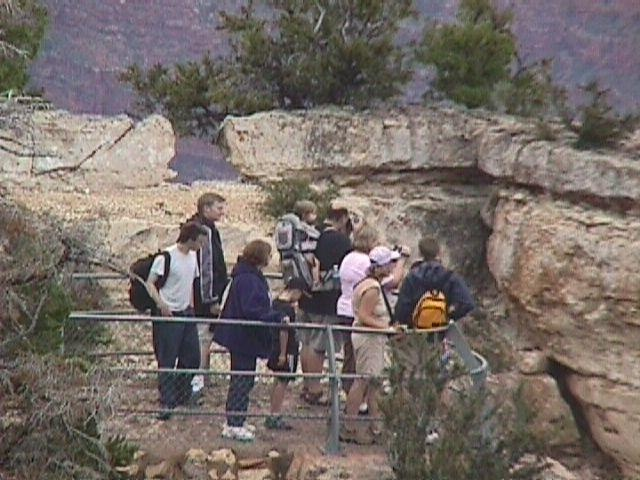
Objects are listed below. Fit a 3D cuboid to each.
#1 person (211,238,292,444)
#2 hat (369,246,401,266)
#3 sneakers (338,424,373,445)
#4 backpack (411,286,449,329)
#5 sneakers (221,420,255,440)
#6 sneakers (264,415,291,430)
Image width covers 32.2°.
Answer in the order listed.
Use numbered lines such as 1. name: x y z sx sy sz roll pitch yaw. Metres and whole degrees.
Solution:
1. person: -1.263 1.705 19.052 1.018 3.035 1.369 -1 23 -13
2. hat: 1.106 0.316 19.143 0.435 0.190 0.293 -14 43 -42
3. sneakers: 0.665 3.387 19.265 0.450 0.331 0.109 6 -10 -4
4. backpack: 1.928 1.220 19.414 0.601 0.827 0.466 -1 4 3
5. sneakers: -1.404 3.303 19.067 0.563 0.197 0.213 6 25 -4
6. sneakers: -0.727 3.122 19.158 0.242 0.150 0.350 -3 -8 40
